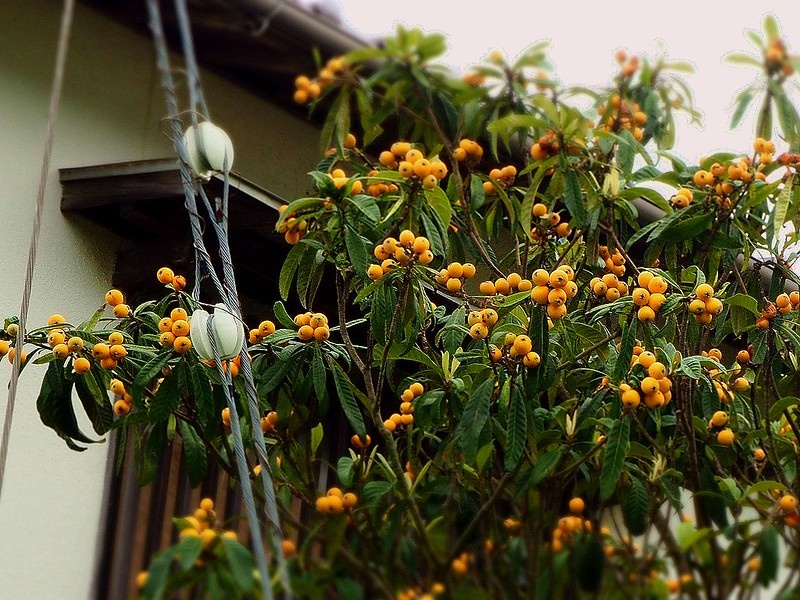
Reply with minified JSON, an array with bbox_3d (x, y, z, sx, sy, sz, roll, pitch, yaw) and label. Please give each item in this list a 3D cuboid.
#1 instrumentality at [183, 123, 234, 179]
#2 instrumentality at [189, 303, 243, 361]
[{"bbox_3d":[-0.767,-0.598,3.967,0.186,0.251,0.166,2,-14,-8],"label":"instrumentality"},{"bbox_3d":[-0.665,0.110,3.668,0.157,0.211,0.175,-1,23,12],"label":"instrumentality"}]
